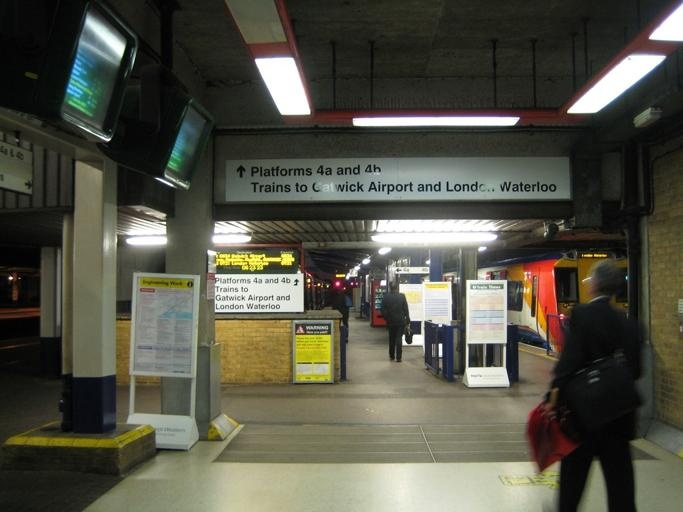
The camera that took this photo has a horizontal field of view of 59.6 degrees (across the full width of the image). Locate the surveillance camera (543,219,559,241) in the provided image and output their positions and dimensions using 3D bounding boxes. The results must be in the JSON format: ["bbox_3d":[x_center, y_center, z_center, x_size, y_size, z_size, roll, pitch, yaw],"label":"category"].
[{"bbox_3d":[3.469,-0.423,9.900,0.282,0.423,0.148,7,4,-3],"label":"surveillance camera"}]

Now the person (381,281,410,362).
[{"bbox_3d":[1.325,1.624,14.812,0.658,1.996,1.027,-1,1,4],"label":"person"}]

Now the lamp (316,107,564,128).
[{"bbox_3d":[1.065,-1.580,6.734,2.899,0.197,0.418,-1,1,0],"label":"lamp"}]

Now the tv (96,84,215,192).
[{"bbox_3d":[-1.785,-1.247,5.809,0.813,1.011,1.123,9,2,-3],"label":"tv"}]

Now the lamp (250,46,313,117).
[{"bbox_3d":[-0.576,-1.762,6.172,0.330,0.079,1.065,-1,-15,4],"label":"lamp"}]
